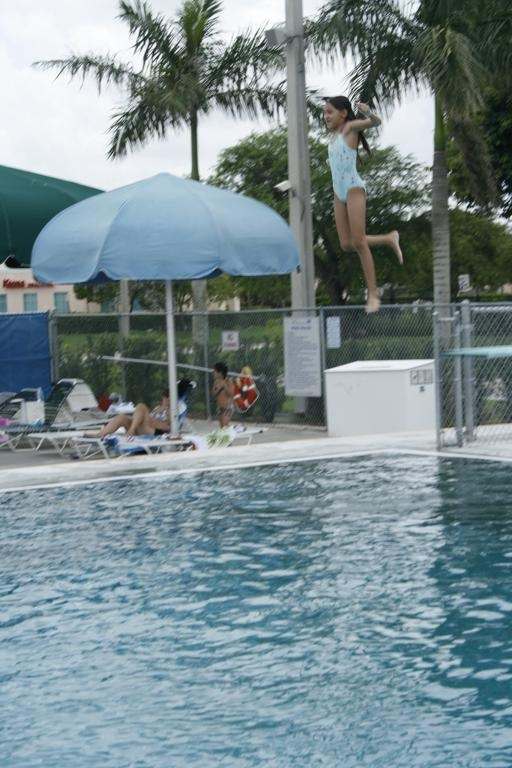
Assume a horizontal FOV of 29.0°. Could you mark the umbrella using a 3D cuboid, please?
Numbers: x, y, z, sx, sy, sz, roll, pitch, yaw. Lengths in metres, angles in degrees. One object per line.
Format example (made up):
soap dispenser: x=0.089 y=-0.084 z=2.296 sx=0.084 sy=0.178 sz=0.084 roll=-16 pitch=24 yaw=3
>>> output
umbrella: x=-1.122 y=-1.336 z=13.663 sx=2.413 sy=2.621 sz=2.499 roll=-2 pitch=-1 yaw=3

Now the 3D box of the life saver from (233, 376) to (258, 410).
life saver: x=-0.105 y=0.188 z=16.178 sx=0.178 sy=0.509 sz=0.443 roll=1 pitch=27 yaw=-30

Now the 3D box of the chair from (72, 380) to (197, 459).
chair: x=-1.710 y=0.515 z=14.044 sx=2.212 sy=1.394 sz=0.866 roll=1 pitch=-2 yaw=-26
